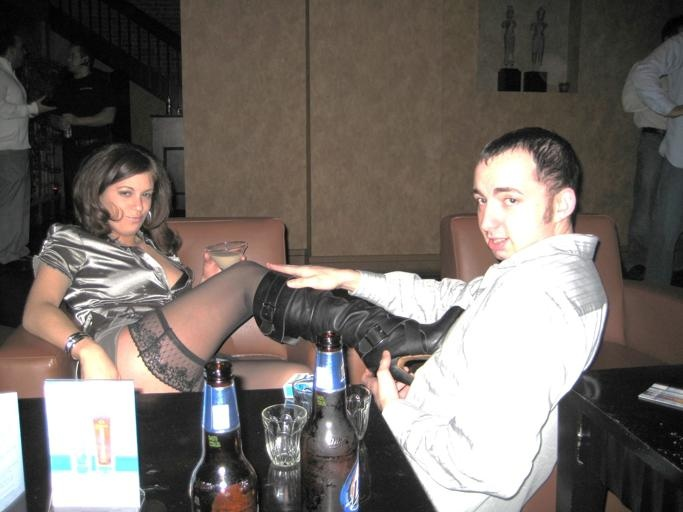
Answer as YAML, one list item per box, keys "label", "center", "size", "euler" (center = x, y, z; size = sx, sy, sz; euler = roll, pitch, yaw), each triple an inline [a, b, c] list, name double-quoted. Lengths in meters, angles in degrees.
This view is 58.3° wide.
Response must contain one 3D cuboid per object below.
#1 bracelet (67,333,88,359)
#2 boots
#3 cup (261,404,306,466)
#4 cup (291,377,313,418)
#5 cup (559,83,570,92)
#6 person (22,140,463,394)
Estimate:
- label: "bracelet"
  center: [-0.895, 0.299, 2.049]
  size: [0.067, 0.074, 0.059]
  euler: [-1, 4, -27]
- label: "boots"
  center: [0.018, 0.240, 2.041]
  size: [0.577, 0.195, 0.347]
  euler: [7, 21, -3]
- label: "cup"
  center: [-0.152, 0.488, 1.708]
  size: [0.136, 0.153, 0.136]
  euler: [-3, -3, 0]
- label: "cup"
  center: [-0.099, 0.417, 1.758]
  size: [0.079, 0.103, 0.096]
  euler: [0, -5, -1]
- label: "cup"
  center: [1.729, -1.297, 4.739]
  size: [0.065, 0.083, 0.071]
  euler: [0, 2, 0]
- label: "person"
  center: [-0.376, 0.106, 2.259]
  size: [1.420, 0.886, 0.750]
  euler: [4, 20, 5]
